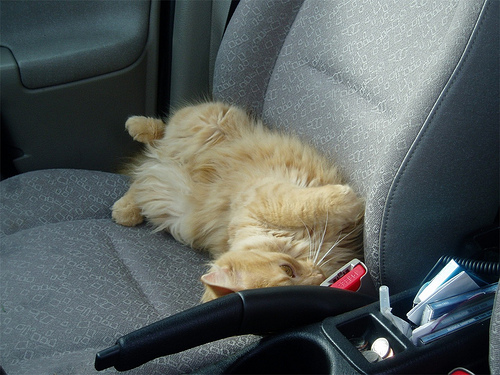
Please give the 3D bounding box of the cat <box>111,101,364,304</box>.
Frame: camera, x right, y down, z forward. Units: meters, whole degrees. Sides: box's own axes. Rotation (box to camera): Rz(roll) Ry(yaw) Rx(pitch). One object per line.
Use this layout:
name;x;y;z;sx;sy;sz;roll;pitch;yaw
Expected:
cat;-0.036;-0.019;1.142;0.430;0.266;0.652;-34;51;-17
